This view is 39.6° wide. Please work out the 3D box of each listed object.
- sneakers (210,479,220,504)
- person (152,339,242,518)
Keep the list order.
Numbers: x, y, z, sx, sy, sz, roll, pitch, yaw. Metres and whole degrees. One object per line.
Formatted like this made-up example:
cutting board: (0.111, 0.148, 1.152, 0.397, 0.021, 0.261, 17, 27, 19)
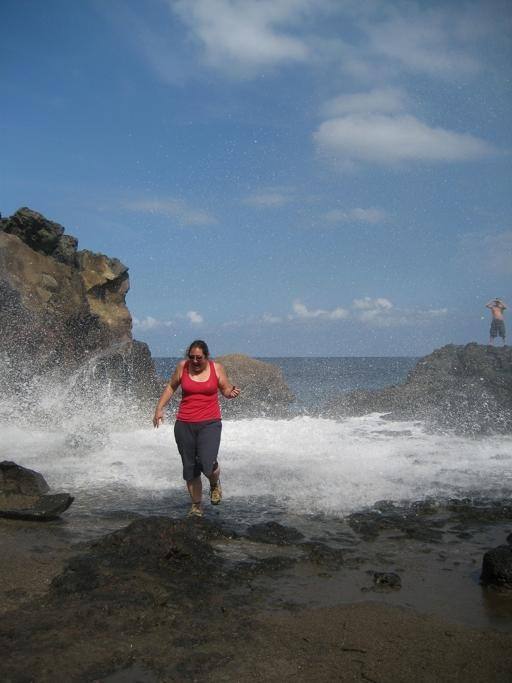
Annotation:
sneakers: (-0.384, 1.428, 6.721, 0.104, 0.114, 0.265, -2, 38, 4)
person: (-0.545, 0.789, 6.327, 0.708, 1.541, 0.846, 4, 0, -1)
